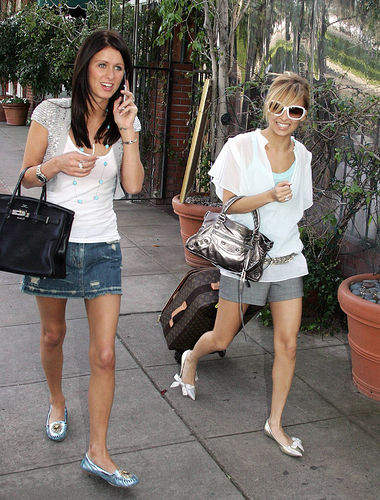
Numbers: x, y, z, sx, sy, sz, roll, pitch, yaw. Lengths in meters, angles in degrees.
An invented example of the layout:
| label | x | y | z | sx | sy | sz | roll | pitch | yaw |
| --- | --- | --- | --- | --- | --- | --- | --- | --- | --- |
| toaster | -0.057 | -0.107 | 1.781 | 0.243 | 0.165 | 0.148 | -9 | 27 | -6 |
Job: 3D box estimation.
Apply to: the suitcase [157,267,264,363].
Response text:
| label | x | y | z | sx | sy | sz | roll | pitch | yaw |
| --- | --- | --- | --- | --- | --- | --- | --- | --- | --- |
| suitcase | 0.093 | 0.373 | 2.648 | 0.421 | 0.293 | 0.540 | 5 | 26 | 19 |

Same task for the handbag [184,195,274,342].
| label | x | y | z | sx | sy | sz | roll | pitch | yaw |
| --- | --- | --- | --- | --- | --- | --- | --- | --- | --- |
| handbag | 0.185 | 0.010 | 1.801 | 0.372 | 0.596 | 0.123 | 27 | 27 | 25 |

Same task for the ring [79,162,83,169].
| label | x | y | z | sx | sy | sz | roll | pitch | yaw |
| --- | --- | --- | --- | --- | --- | --- | --- | --- | --- |
| ring | -0.354 | -0.276 | 1.255 | 0.015 | 0.019 | 0.017 | -5 | 0 | 0 |

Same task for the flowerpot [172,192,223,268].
| label | x | y | z | sx | sy | sz | roll | pitch | yaw |
| --- | --- | --- | --- | --- | --- | --- | --- | --- | --- |
| flowerpot | 0.153 | -0.215 | 4.851 | 0.734 | 0.758 | 0.726 | -1 | 11 | -5 |

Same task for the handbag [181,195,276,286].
| label | x | y | z | sx | sy | sz | roll | pitch | yaw |
| --- | --- | --- | --- | --- | --- | --- | --- | --- | --- |
| handbag | 0.217 | -0.082 | 1.772 | 0.387 | 0.387 | 0.174 | 24 | 29 | 16 |
